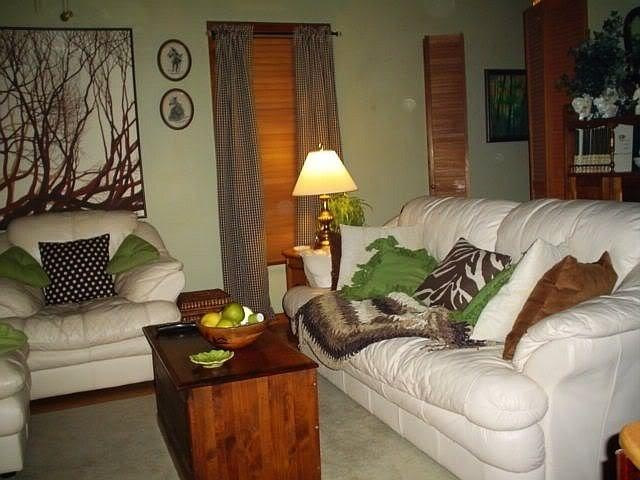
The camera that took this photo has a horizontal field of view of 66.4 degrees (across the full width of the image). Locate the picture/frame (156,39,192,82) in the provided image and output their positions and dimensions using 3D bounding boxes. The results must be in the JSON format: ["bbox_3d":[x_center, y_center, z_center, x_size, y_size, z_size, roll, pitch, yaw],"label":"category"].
[{"bbox_3d":[-1.404,-1.711,4.632,0.387,0.472,0.031,-4,11,-17],"label":"picture/frame"}]

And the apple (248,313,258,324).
[{"bbox_3d":[-0.352,0.408,2.545,0.043,0.043,0.043,-2,9,31],"label":"apple"}]

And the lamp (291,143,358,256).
[{"bbox_3d":[0.037,-0.340,4.284,0.564,0.860,0.568,-2,0,43],"label":"lamp"}]

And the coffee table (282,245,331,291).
[{"bbox_3d":[-0.089,0.205,3.931,0.318,0.198,0.410,0,8,-6],"label":"coffee table"}]

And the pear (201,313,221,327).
[{"bbox_3d":[-0.567,0.412,2.526,0.084,0.064,0.063,-2,-9,-46],"label":"pear"}]

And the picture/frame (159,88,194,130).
[{"bbox_3d":[-1.394,-1.262,4.687,0.384,0.467,0.035,-4,11,-21],"label":"picture/frame"}]

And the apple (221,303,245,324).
[{"bbox_3d":[-0.449,0.384,2.582,0.085,0.090,0.115,9,-16,39],"label":"apple"}]

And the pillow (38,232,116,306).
[{"bbox_3d":[-1.982,0.257,3.941,0.482,0.480,0.167,-10,-16,-20],"label":"pillow"}]
